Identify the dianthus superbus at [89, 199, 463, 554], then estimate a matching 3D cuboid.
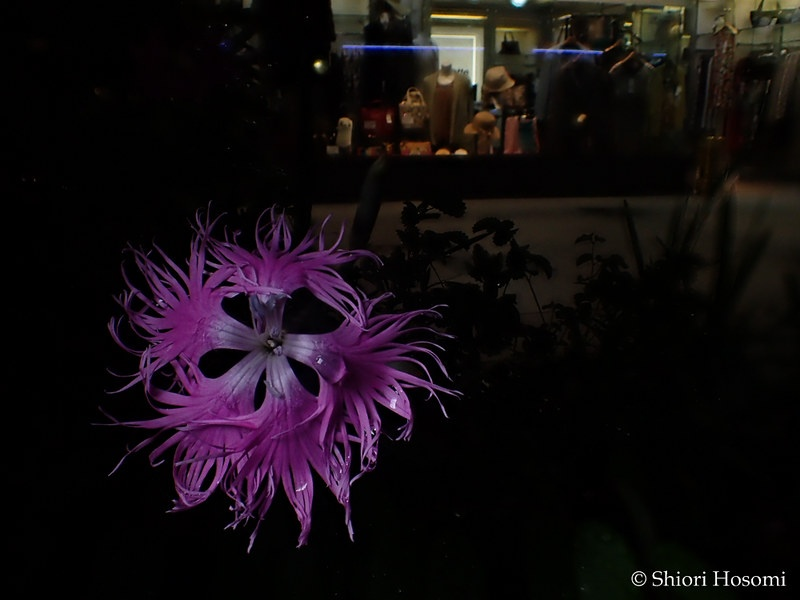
[{"bbox_3d":[-0.181,0.127,1.023,0.525,0.484,0.211,1,25,11],"label":"dianthus superbus"}]
